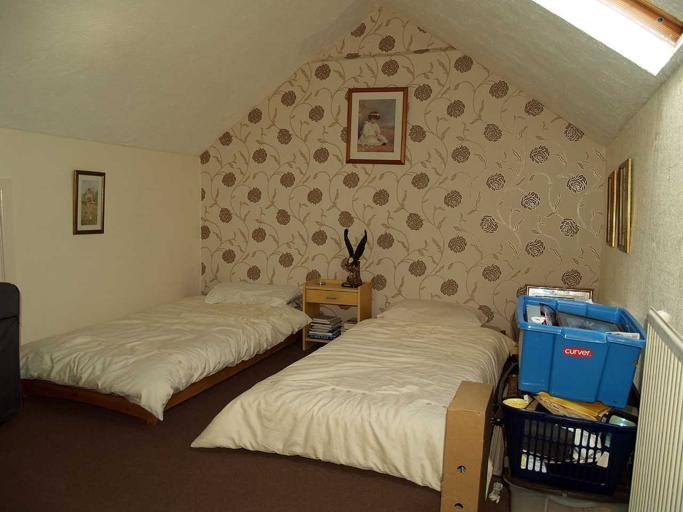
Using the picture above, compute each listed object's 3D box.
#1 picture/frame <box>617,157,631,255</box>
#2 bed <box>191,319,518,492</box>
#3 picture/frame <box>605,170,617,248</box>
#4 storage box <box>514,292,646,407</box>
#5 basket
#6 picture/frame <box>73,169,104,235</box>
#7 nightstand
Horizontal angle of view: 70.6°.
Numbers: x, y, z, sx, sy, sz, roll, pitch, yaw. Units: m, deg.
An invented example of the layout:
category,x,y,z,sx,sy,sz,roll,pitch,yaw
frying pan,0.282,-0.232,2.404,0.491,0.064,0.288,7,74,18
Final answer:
category,x,y,z,sx,sy,sz,roll,pitch,yaw
picture/frame,1.649,-0.283,2.823,0.023,0.646,0.577,1,1,24
bed,0.261,0.909,3.128,1.508,0.446,1.940,8,14,38
picture/frame,1.922,-0.330,3.458,0.026,0.684,0.610,1,2,25
storage box,1.054,0.423,2.224,0.432,0.337,0.514,12,-3,16
basket,0.922,0.754,2.003,0.436,0.315,0.334,2,-5,14
picture/frame,-2.130,-0.453,4.074,0.050,0.542,0.336,4,12,22
nightstand,-0.028,0.702,4.858,0.800,0.878,0.575,0,2,18
